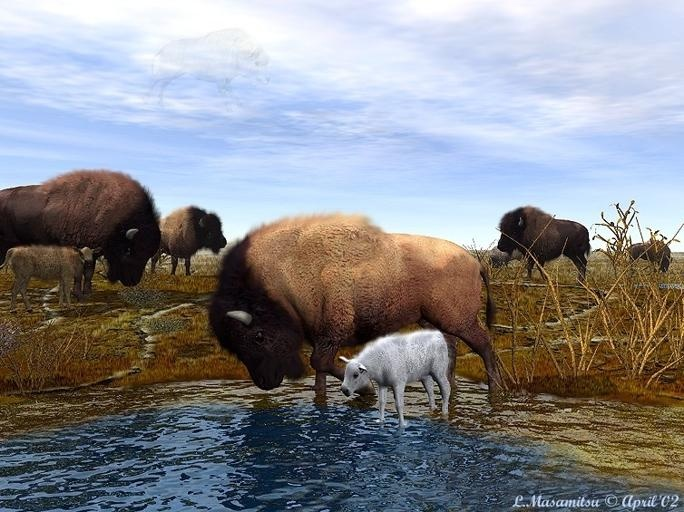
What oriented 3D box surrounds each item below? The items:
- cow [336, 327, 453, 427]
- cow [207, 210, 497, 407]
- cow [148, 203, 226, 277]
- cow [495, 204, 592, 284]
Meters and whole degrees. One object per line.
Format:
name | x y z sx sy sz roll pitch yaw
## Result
cow | 0.865 1.918 8.868 1.925 1.386 0.627 -5 4 -25
cow | 0.124 1.022 9.721 3.572 2.180 1.081 1 -5 -11
cow | -7.755 -0.752 28.045 4.623 3.285 1.631 -1 6 19
cow | 8.662 -0.617 24.442 4.220 2.834 1.576 4 6 -9
